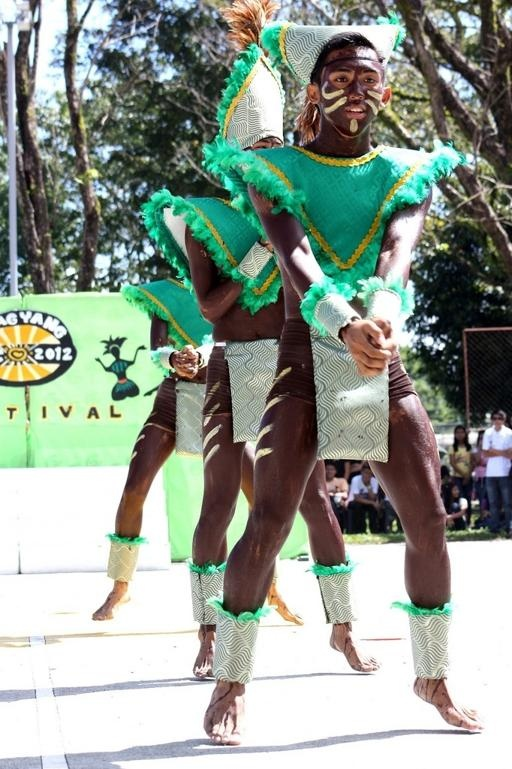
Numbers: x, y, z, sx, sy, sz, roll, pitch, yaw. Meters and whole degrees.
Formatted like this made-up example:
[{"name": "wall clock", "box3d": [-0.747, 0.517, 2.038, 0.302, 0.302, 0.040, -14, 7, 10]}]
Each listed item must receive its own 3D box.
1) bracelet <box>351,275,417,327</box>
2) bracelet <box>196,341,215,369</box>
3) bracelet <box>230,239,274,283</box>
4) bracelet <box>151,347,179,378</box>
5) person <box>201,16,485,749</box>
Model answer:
[{"name": "bracelet", "box3d": [0.322, -0.177, 2.390, 0.145, 0.093, 0.133, -6, -50, 37]}, {"name": "bracelet", "box3d": [-0.222, -0.132, 4.282, 0.104, 0.118, 0.050, -7, -41, 17]}, {"name": "bracelet", "box3d": [-0.007, -0.454, 3.578, 0.092, 0.154, 0.043, 38, -10, 2]}, {"name": "bracelet", "box3d": [-0.431, -0.091, 4.307, 0.147, 0.117, 0.129, 0, 14, -17]}, {"name": "person", "box3d": [0.227, -0.051, 2.539, 0.777, 2.002, 0.785, -1, 3, -4]}]
